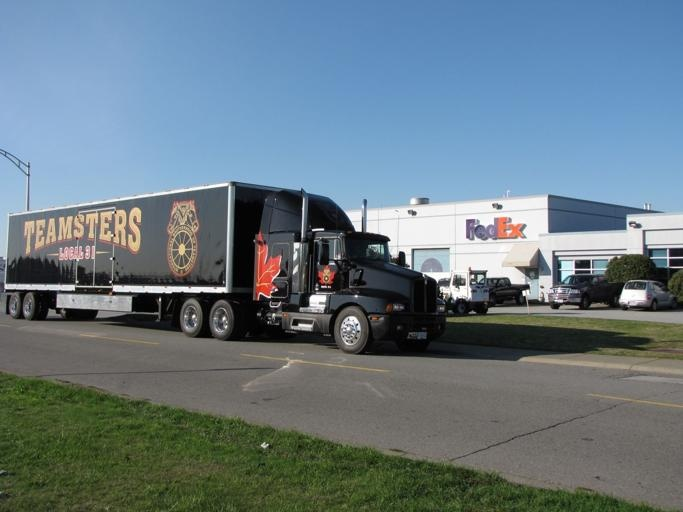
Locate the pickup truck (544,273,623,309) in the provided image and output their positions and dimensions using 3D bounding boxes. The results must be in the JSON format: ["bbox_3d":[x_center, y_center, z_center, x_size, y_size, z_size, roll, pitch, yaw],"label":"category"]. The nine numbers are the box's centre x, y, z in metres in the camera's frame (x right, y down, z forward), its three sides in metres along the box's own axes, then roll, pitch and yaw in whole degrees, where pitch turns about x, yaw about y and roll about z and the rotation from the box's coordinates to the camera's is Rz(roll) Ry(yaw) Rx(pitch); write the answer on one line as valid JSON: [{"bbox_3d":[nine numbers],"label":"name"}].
[{"bbox_3d":[16.892,2.489,39.632,4.666,1.724,2.264,6,-9,-44],"label":"pickup truck"}]

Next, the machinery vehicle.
[{"bbox_3d":[6.980,2.147,35.669,3.823,2.656,2.837,1,0,43],"label":"machinery vehicle"}]
